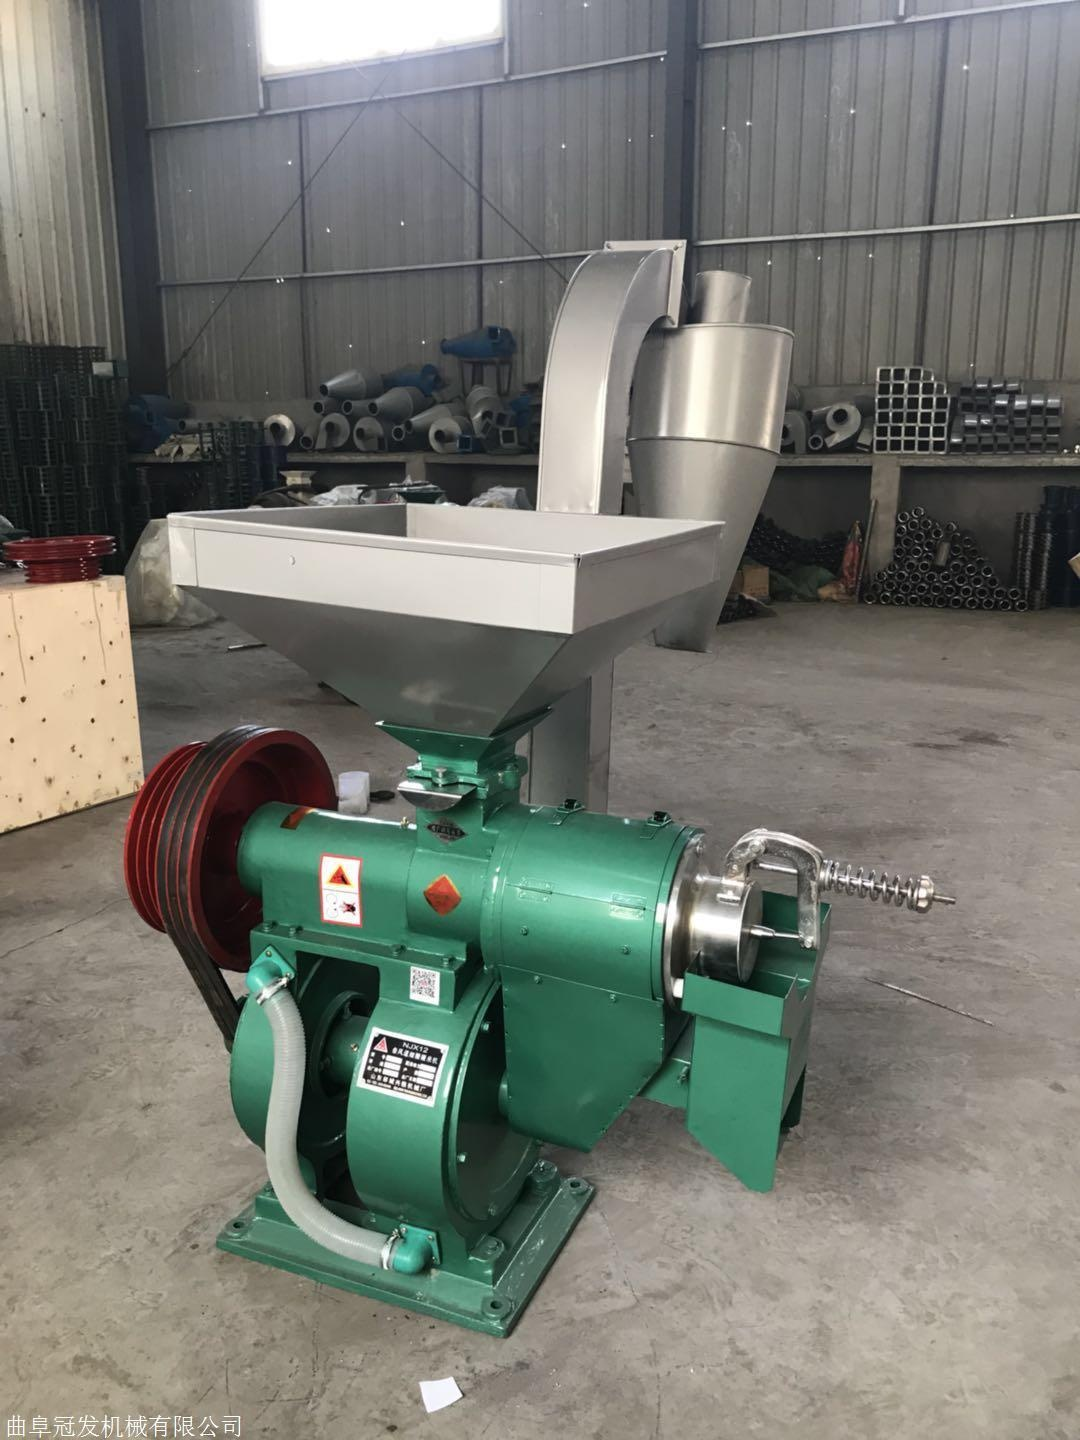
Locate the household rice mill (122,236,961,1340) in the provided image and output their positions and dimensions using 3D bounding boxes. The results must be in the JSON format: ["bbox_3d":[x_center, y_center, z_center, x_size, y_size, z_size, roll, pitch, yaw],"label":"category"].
[{"bbox_3d":[0.011,0.016,1.723,1.147,1.686,1.031,7,16,28],"label":"household rice mill"}]

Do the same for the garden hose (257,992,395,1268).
[{"bbox_3d":[-0.346,0.630,1.559,0.138,0.443,0.283,-9,16,-32],"label":"garden hose"}]
